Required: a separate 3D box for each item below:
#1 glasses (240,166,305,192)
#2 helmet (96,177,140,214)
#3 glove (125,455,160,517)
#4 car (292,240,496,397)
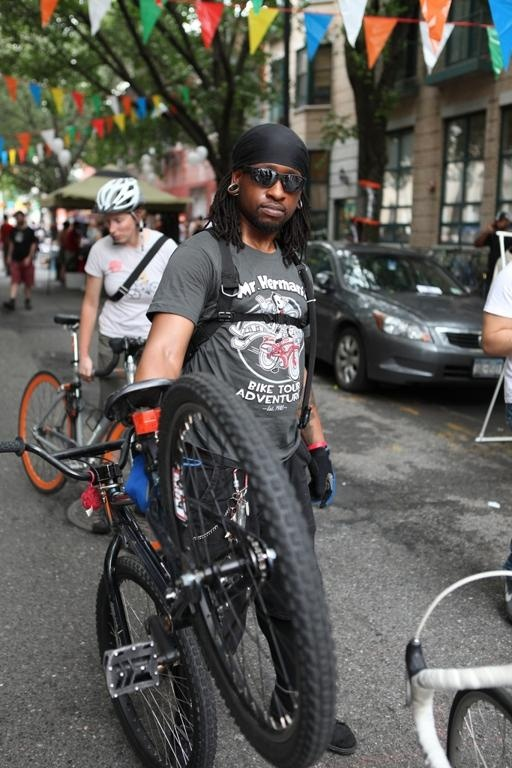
[{"bbox_3d":[0.045,-0.528,1.682,0.156,0.064,0.071,1,12,-3],"label":"glasses"},{"bbox_3d":[-0.778,-1.081,3.710,0.235,0.225,0.320,0,12,-6],"label":"helmet"},{"bbox_3d":[-0.269,0.237,1.460,0.039,0.117,0.091,1,53,-17],"label":"glove"},{"bbox_3d":[1.555,-0.888,7.984,1.283,1.193,2.828,-1,6,-21],"label":"car"}]
